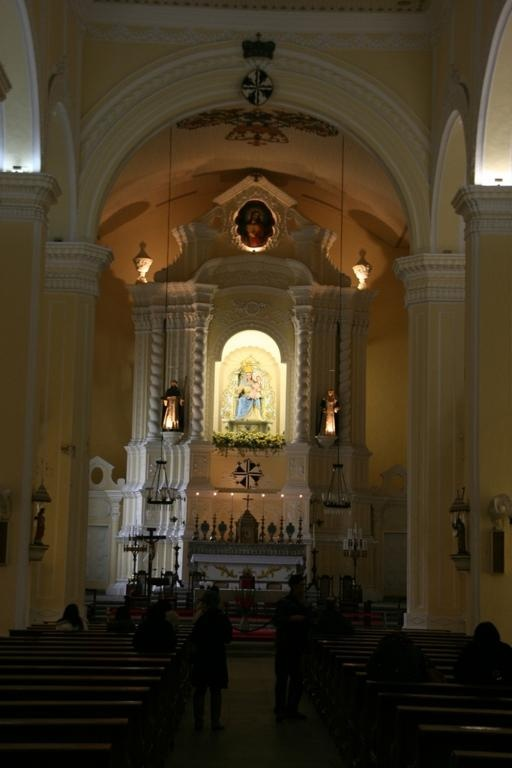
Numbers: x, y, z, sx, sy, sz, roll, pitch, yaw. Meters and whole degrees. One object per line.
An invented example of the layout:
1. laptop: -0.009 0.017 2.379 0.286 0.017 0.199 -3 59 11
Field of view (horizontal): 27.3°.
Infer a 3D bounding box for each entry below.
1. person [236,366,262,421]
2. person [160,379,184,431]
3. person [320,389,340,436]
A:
1. person: -0.163 0.158 20.367 0.560 0.922 0.285 -7 -2 -2
2. person: -1.568 0.423 19.648 0.482 0.824 0.539 -7 -2 -1
3. person: 1.386 0.529 19.620 0.324 0.849 0.250 1 1 11
